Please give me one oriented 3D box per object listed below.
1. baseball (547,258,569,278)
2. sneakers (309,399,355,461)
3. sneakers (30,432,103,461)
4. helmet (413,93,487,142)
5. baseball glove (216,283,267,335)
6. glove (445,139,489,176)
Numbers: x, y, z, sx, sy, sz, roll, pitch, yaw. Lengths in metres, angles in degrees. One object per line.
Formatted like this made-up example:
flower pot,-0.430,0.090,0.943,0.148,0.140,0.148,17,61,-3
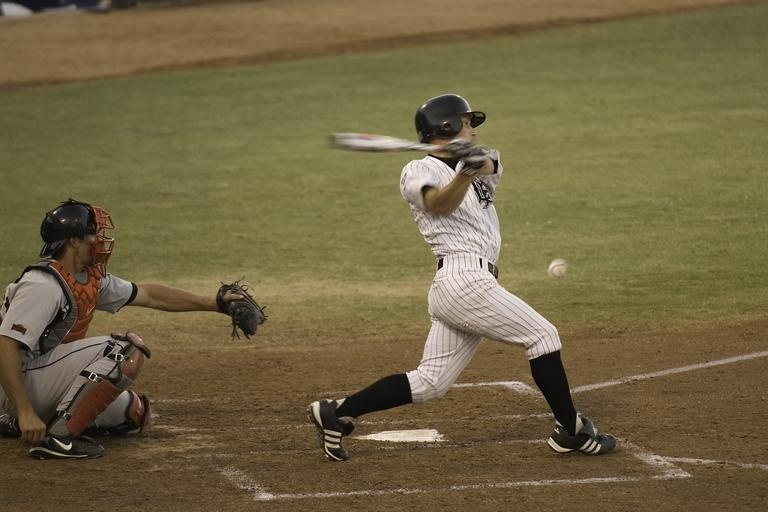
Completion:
baseball,1.880,0.146,15.039,0.212,0.072,0.229,-1,18,-1
sneakers,-0.426,1.400,11.078,0.347,0.488,0.248,4,18,13
sneakers,-2.540,1.530,11.058,0.706,0.217,0.198,0,4,-6
helmet,0.597,-1.140,11.241,0.672,0.331,0.424,-9,7,21
baseball glove,-1.245,0.468,11.540,0.535,0.217,0.459,4,41,-22
glove,0.642,-0.771,10.838,0.346,0.241,0.166,0,17,1
